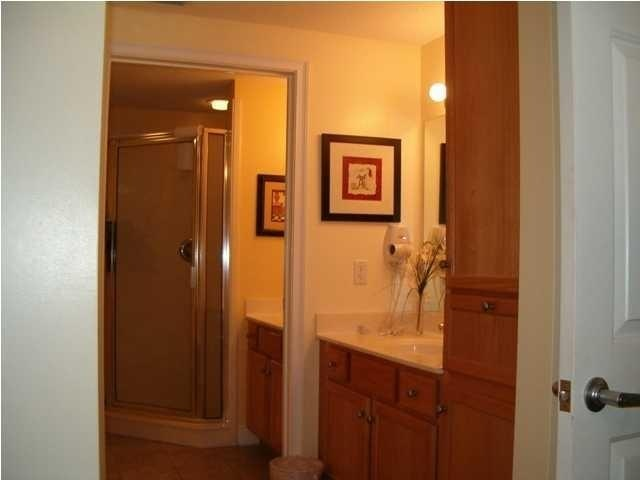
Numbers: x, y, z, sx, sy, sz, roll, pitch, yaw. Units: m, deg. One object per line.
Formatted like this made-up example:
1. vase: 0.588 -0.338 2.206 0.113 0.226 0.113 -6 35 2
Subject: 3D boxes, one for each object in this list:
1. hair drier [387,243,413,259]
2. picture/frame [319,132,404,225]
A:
1. hair drier: 0.438 0.059 2.912 0.129 0.088 0.044 2 4 13
2. picture/frame: 0.211 -0.349 2.949 0.490 0.533 0.036 -1 3 -19
